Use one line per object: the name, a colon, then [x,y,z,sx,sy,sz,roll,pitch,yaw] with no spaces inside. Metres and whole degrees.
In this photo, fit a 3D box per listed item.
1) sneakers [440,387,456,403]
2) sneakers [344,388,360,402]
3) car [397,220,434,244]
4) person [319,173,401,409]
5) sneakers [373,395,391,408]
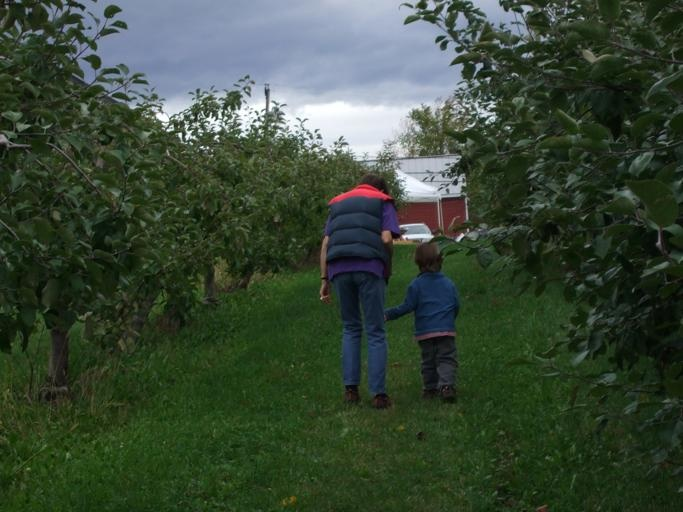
sneakers: [0.989,1.258,5.755,0.153,0.119,0.131,-1,9,3]
sneakers: [0.108,1.321,5.961,0.093,0.104,0.151,0,-14,2]
car: [2.596,-0.814,21.575,1.070,1.096,2.110,-3,-7,0]
person: [0.201,0.377,5.962,0.696,1.968,0.700,0,8,10]
sneakers: [0.381,1.320,5.748,0.162,0.116,0.117,-2,9,1]
